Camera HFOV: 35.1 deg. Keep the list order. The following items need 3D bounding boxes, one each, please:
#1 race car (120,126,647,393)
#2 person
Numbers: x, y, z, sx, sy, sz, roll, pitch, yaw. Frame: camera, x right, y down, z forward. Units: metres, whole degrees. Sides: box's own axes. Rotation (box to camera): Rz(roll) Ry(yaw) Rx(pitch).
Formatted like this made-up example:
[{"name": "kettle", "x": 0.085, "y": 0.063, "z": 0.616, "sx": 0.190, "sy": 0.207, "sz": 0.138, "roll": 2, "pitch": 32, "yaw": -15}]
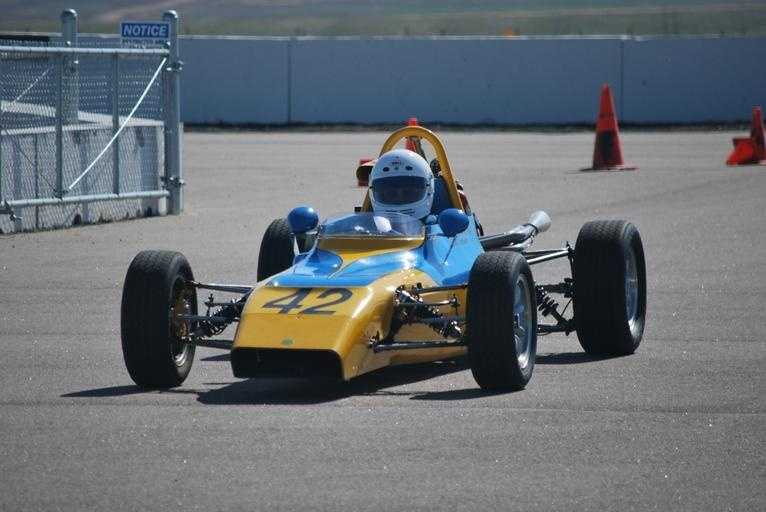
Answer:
[{"name": "race car", "x": 0.199, "y": -0.023, "z": 12.651, "sx": 4.232, "sy": 2.388, "sz": 5.688, "roll": 0, "pitch": 4, "yaw": 25}, {"name": "person", "x": 0.204, "y": -0.706, "z": 12.556, "sx": 0.663, "sy": 0.835, "sz": 0.837, "roll": -4, "pitch": 7, "yaw": 8}]
